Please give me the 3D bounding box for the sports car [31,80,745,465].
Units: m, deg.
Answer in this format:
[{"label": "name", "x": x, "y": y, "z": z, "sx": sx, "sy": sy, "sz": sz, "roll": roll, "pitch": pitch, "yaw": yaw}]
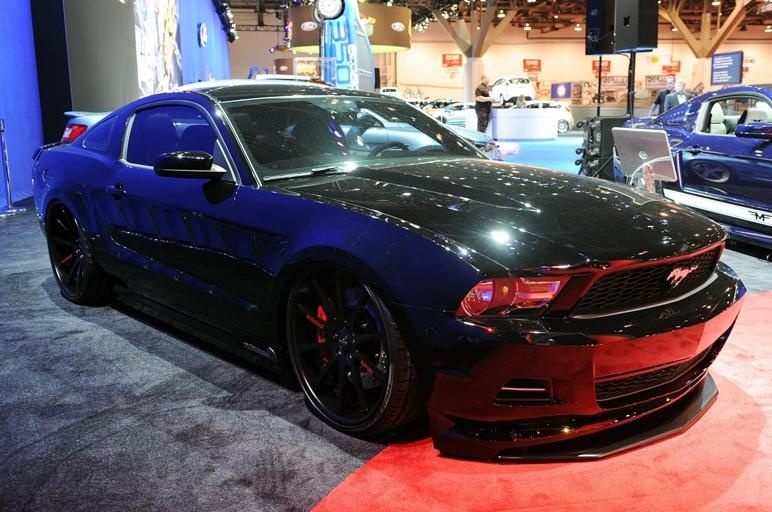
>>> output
[{"label": "sports car", "x": -0.666, "y": -0.078, "z": 3.267, "sx": 4.933, "sy": 1.209, "sz": 2.236, "roll": 10, "pitch": 15, "yaw": 38}]
